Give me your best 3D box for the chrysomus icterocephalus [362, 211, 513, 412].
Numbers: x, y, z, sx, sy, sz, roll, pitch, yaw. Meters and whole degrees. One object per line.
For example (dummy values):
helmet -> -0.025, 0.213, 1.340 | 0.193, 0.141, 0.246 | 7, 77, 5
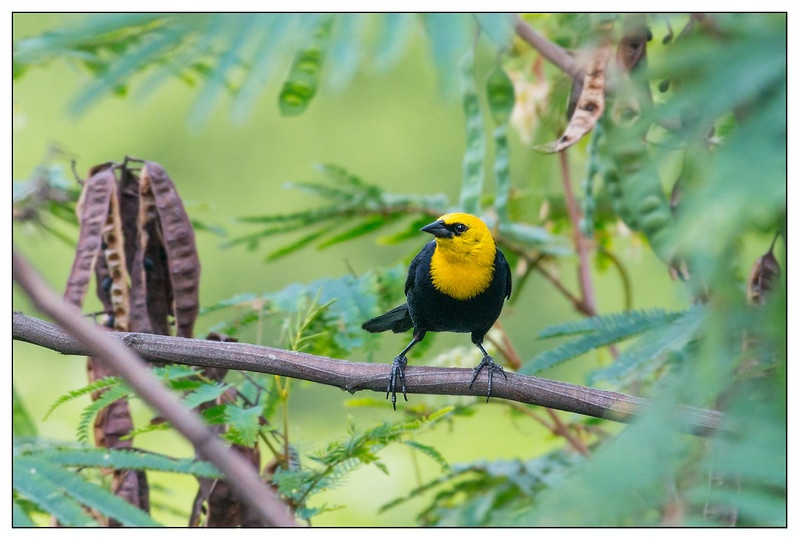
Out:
chrysomus icterocephalus -> 0.282, 0.060, 5.580 | 0.740, 1.670, 1.109 | 1, -80, -2
